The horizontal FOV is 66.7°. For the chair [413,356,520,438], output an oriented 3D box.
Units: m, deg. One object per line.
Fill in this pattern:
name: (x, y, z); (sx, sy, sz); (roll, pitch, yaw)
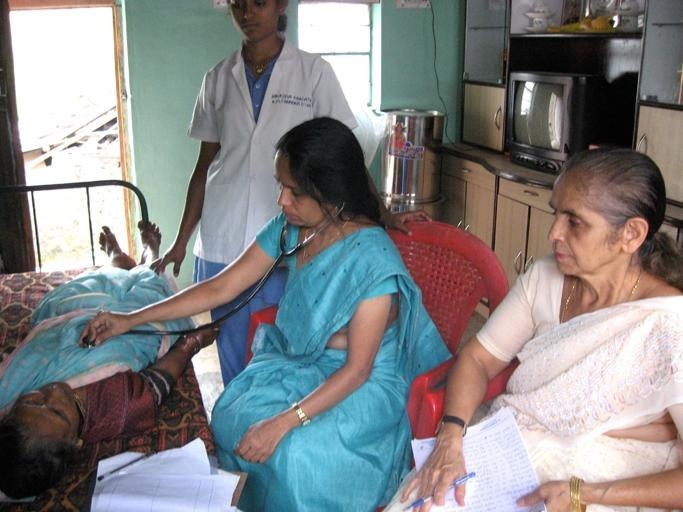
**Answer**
chair: (0.359, 0.414, 1.624); (0.252, 0.321, 0.217); (0, 11, -15)

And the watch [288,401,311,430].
watch: (-0.126, 0.461, 1.569); (0.046, 0.079, 0.074); (-28, 37, -2)

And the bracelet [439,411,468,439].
bracelet: (0.310, 0.465, 1.457); (0.073, 0.051, 0.075); (24, -6, -3)

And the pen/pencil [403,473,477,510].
pen/pencil: (0.261, 0.612, 1.345); (0.162, 0.019, 0.019); (-29, 38, -8)

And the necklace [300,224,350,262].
necklace: (-0.061, -0.041, 1.745); (0.165, 0.041, 0.098); (-43, -9, -3)
